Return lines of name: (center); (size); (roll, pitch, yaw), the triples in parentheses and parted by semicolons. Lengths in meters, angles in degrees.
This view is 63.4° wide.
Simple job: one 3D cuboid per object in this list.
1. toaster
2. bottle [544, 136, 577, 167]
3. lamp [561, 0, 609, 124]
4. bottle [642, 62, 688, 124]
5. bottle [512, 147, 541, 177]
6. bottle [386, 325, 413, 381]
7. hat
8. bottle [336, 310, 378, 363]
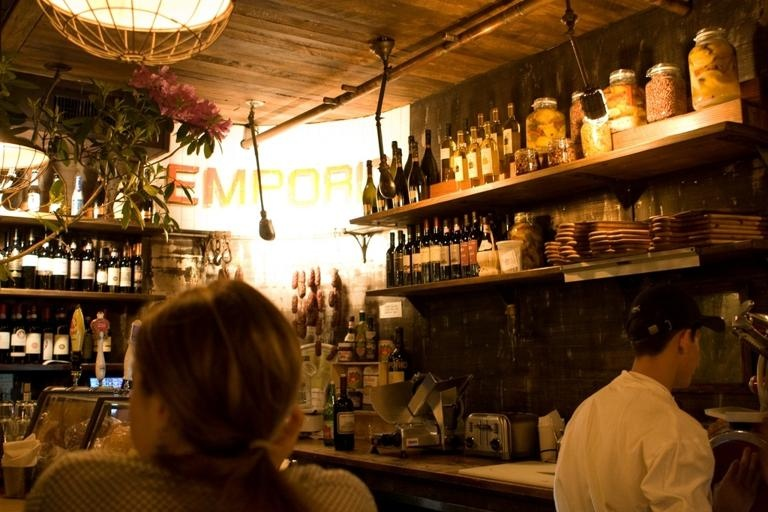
toaster: (0.712, 1.088, 3.781); (0.339, 0.232, 0.383); (7, -15, -29)
bottle: (0.992, -0.583, 3.548); (0.165, 0.154, 0.158); (2, -10, 1)
lamp: (1.064, -1.048, 3.292); (0.175, 0.832, 0.723); (-6, -7, 19)
bottle: (1.423, -0.832, 3.165); (0.194, 0.323, 0.193); (-3, -6, 0)
bottle: (0.833, -0.552, 3.637); (0.146, 0.143, 0.154); (1, 2, 40)
bottle: (0.111, 0.737, 4.704); (0.149, 0.389, 0.286); (-5, -7, 13)
hat: (1.137, 0.217, 2.463); (0.365, 0.190, 0.236); (-10, 5, 17)
bottle: (-0.193, 0.665, 4.978); (0.413, 0.460, 0.328); (-3, -10, 30)
